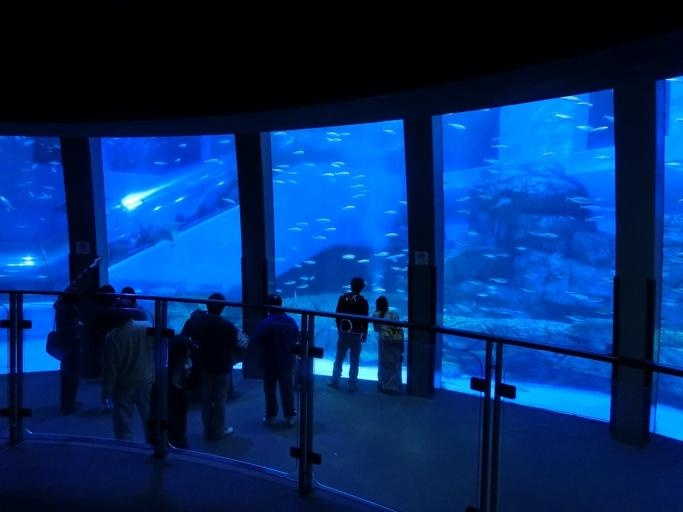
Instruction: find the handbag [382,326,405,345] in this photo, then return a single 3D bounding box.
[{"bbox_3d":[0.505,0.751,6.764,0.300,0.173,0.161,1,4,8],"label":"handbag"}]
